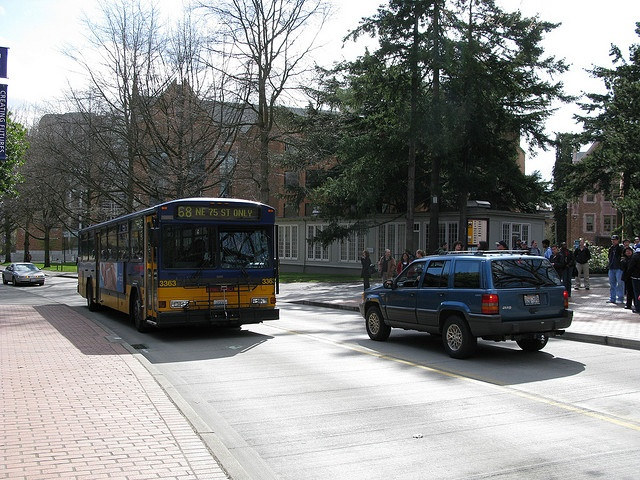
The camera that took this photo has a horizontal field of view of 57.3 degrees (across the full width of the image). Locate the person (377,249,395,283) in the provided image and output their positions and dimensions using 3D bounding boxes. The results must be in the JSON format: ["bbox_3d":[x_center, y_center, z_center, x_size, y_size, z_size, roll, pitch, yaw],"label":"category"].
[{"bbox_3d":[2.785,1.247,24.462,0.646,1.569,0.530,0,-2,24],"label":"person"}]

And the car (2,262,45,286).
[{"bbox_3d":[-20.210,2.355,39.949,1.572,1.135,3.503,2,-4,-31],"label":"car"}]

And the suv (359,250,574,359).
[{"bbox_3d":[3.068,1.244,12.612,1.957,1.636,3.999,2,0,-31],"label":"suv"}]

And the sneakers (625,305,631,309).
[{"bbox_3d":[10.216,2.227,19.367,0.200,0.086,0.427,1,-3,28],"label":"sneakers"}]
